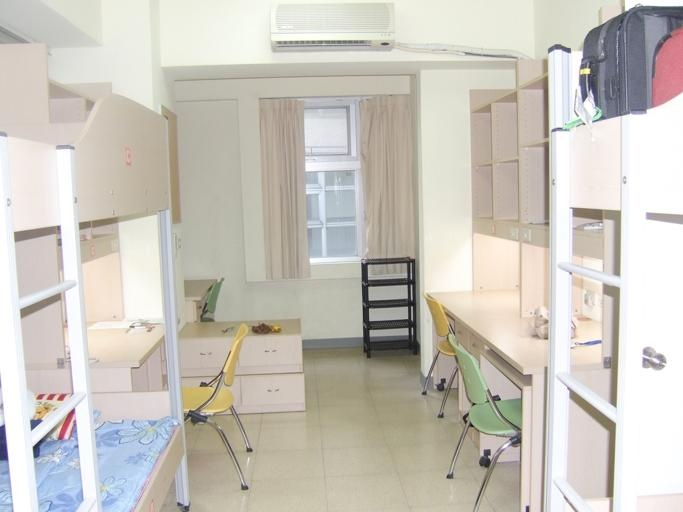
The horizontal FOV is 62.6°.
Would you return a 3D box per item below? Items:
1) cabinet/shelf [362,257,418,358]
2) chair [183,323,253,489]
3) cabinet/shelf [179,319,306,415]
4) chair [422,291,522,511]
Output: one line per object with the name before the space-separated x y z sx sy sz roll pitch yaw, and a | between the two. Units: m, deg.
cabinet/shelf | 0.507 0.511 5.887 0.590 0.985 0.504 -1 9 2
chair | -0.860 0.923 3.832 0.480 0.874 1.013 -3 10 -10
cabinet/shelf | -0.797 0.903 4.730 1.046 0.689 0.589 -3 14 -2
chair | 0.872 0.959 3.699 0.352 0.577 1.036 -4 11 -6
